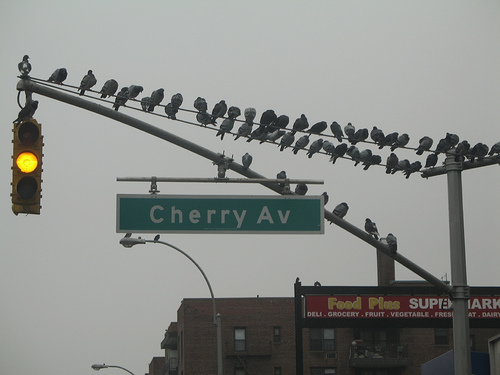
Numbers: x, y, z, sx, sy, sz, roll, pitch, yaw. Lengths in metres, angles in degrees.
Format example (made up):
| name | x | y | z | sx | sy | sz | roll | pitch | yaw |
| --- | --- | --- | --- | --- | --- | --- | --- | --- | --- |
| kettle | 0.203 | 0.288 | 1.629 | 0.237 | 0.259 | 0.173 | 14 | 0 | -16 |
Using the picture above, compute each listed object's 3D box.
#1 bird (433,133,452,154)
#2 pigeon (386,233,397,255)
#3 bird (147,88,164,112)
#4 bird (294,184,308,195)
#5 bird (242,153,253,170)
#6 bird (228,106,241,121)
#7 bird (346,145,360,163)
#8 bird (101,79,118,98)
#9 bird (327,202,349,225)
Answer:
| name | x | y | z | sx | sy | sz | roll | pitch | yaw |
| --- | --- | --- | --- | --- | --- | --- | --- | --- | --- |
| bird | 8.297 | -1.982 | 61.888 | 0.671 | 0.821 | 0.719 | 1 | -21 | 7 |
| pigeon | 5.957 | 2.361 | 60.740 | 0.405 | 0.843 | 0.343 | 1 | -20 | 7 |
| bird | -3.760 | -3.679 | 59.172 | 0.514 | 0.855 | 0.774 | 9 | -22 | -13 |
| bird | 2.174 | 0.040 | 59.581 | 0.324 | 0.522 | 0.115 | 1 | -6 | 5 |
| bird | -0.054 | -1.078 | 58.972 | 0.346 | 0.680 | 0.433 | 1 | -21 | 8 |
| bird | -0.505 | -3.101 | 59.281 | 0.364 | 0.566 | 0.721 | 21 | -27 | -38 |
| bird | 4.429 | -1.474 | 61.221 | 0.554 | 0.777 | 0.265 | -2 | 10 | 24 |
| bird | -5.591 | -4.007 | 58.532 | 0.568 | 0.972 | 0.989 | 7 | -21 | -7 |
| bird | 3.772 | 0.957 | 60.024 | 0.575 | 0.820 | 0.717 | 5 | -21 | -2 |
